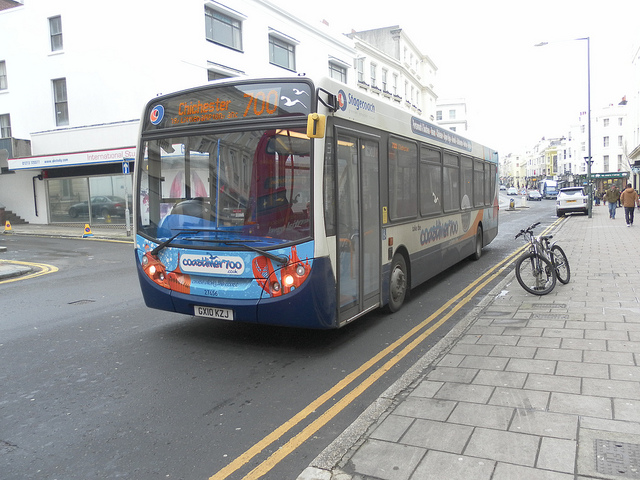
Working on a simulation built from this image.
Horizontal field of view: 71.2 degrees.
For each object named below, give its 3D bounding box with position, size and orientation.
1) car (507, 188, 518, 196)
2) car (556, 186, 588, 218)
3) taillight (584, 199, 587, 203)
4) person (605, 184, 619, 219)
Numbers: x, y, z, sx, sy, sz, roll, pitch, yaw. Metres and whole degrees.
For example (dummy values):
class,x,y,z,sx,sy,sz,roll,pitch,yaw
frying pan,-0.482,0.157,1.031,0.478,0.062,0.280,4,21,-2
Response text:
class,x,y,z,sx,sy,sz,roll,pitch,yaw
car,37.395,-9.332,86.338,1.421,1.267,3.600,0,10,17
car,17.922,-2.804,31.369,1.286,1.317,2.960,-1,1,36
taillight,18.123,-2.666,30.278,0.103,0.237,0.540,1,8,38
person,17.269,-2.231,26.172,0.438,1.901,1.342,1,7,34
